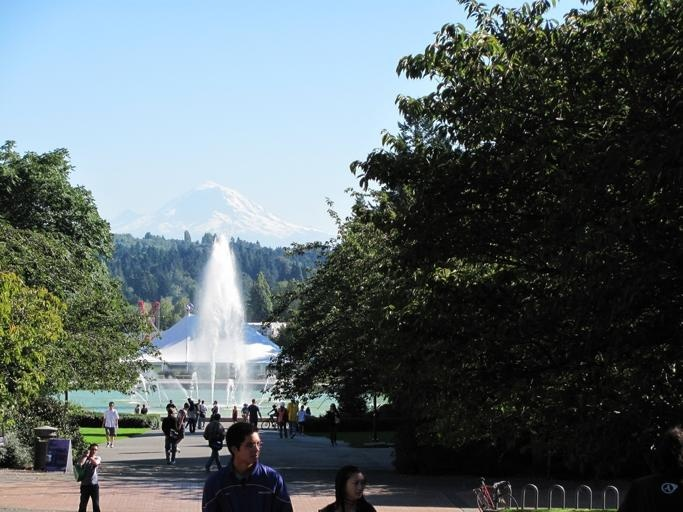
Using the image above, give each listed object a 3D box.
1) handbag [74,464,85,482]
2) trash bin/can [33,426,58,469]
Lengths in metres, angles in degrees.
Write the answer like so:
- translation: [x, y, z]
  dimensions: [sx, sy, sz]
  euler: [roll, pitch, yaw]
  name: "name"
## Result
- translation: [-5.368, 4.434, 19.623]
  dimensions: [0.216, 0.262, 0.273]
  euler: [7, -14, -23]
  name: "handbag"
- translation: [-8.550, 5.513, 27.596]
  dimensions: [0.602, 1.215, 1.114]
  euler: [2, -3, -18]
  name: "trash bin/can"
